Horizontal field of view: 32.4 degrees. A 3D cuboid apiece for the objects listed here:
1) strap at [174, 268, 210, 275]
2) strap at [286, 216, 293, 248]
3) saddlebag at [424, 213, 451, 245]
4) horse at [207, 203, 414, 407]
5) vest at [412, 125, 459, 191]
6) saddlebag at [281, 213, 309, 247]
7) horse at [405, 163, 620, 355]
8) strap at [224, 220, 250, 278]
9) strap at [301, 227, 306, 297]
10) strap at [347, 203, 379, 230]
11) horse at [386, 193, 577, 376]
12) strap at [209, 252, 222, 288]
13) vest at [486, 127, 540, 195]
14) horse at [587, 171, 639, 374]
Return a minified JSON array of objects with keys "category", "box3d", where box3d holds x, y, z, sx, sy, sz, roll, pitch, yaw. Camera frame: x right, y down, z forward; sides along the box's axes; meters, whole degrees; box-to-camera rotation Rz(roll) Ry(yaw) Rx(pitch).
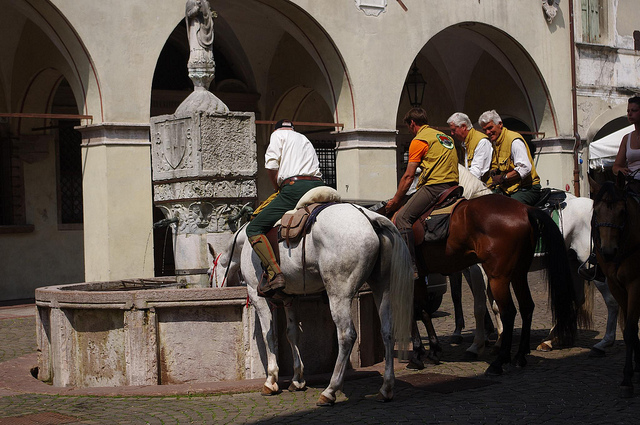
[{"category":"strap","box3d":[-2.181,0.994,18.792,0.632,0.094,0.092,-4,-3,21]},{"category":"strap","box3d":[-0.433,0.292,16.870,0.058,0.463,0.132,7,-7,13]},{"category":"saddlebag","box3d":[1.941,0.269,18.188,0.400,0.508,0.205,0,-10,37]},{"category":"horse","box3d":[-0.375,1.452,17.638,4.263,3.090,1.265,-6,-7,37]},{"category":"vest","box3d":[2.004,-0.936,18.685,0.947,1.147,0.630,-20,16,-37]},{"category":"saddlebag","box3d":[-0.369,0.246,16.880,0.383,0.505,0.183,-5,-23,36]},{"category":"horse","box3d":[2.411,0.852,19.707,1.066,3.573,4.659,13,-10,-38]},{"category":"strap","box3d":[-1.392,0.726,17.886,0.221,0.513,0.291,0,-3,-3]},{"category":"strap","box3d":[-0.244,0.701,16.868,0.085,0.936,0.260,-2,-2,-4]},{"category":"strap","box3d":[0.764,0.053,16.784,0.292,0.115,0.317,30,7,-45]},{"category":"horse","box3d":[2.336,0.997,18.769,4.336,3.260,1.186,-3,-2,38]},{"category":"strap","box3d":[-1.740,0.963,18.179,0.141,0.433,0.045,20,-34,-9]},{"category":"vest","box3d":[3.499,-0.902,19.472,1.074,1.389,1.253,-5,3,-7]},{"category":"horse","box3d":[4.674,0.915,17.185,0.718,3.165,0.509,-2,-3,-21]}]
